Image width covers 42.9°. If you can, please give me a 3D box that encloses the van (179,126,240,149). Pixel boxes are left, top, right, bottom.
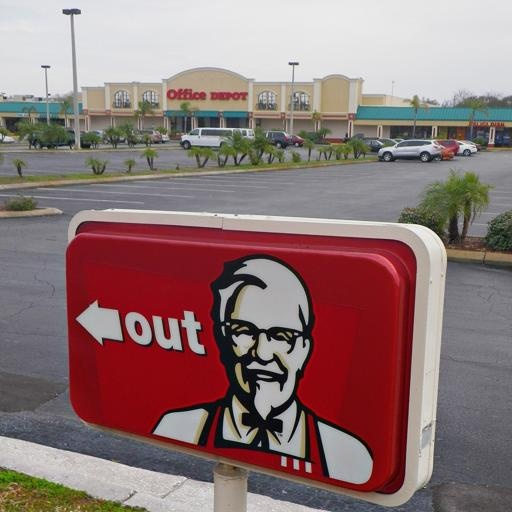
[{"bbox_3d":[-4.129,-9.160,50.742,2.534,1.622,8.777,-4,12,-25],"label":"van"}]
